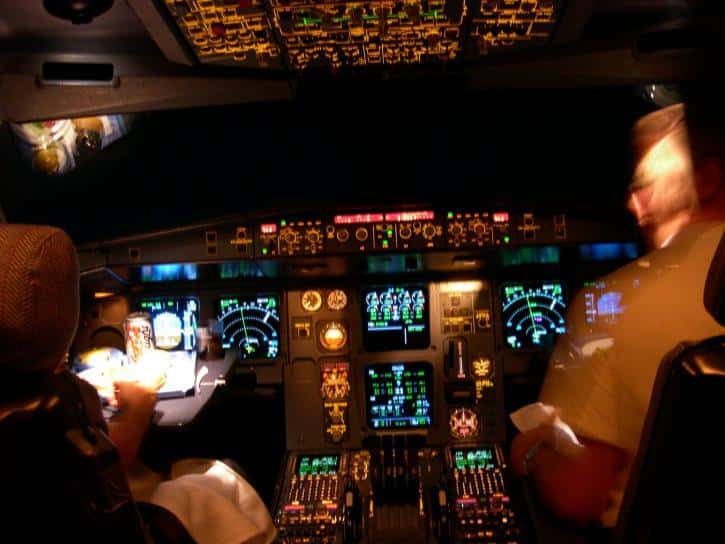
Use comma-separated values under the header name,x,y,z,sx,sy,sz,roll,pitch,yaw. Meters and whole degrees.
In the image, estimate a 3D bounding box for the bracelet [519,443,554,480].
name,x,y,z,sx,sy,sz,roll,pitch,yaw
bracelet,0.803,0.887,2.959,0.038,0.152,0.152,14,16,-5

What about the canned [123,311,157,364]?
name,x,y,z,sx,sy,sz,roll,pitch,yaw
canned,-1.126,0.333,3.154,0.127,0.242,0.138,7,20,-9
